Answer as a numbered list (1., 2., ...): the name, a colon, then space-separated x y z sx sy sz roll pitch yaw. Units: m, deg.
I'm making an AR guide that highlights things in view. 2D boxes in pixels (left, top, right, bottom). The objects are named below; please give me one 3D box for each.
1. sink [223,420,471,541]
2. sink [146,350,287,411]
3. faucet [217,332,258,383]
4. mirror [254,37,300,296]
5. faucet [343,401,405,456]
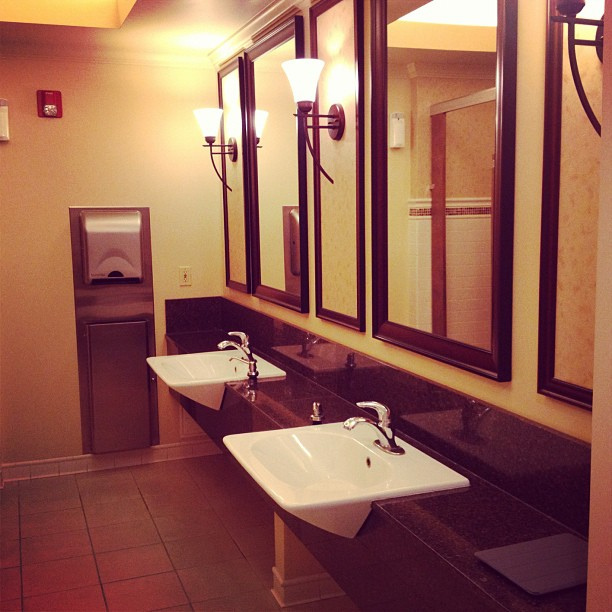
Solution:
1. sink: 0.081 0.492 1.675 0.546 0.201 0.624 -3 7 -24
2. sink: -0.508 0.381 2.976 0.492 0.192 0.816 -3 7 -24
3. faucet: -0.316 0.221 2.843 0.163 0.214 0.609 -1 6 -5
4. mirror: -0.150 -0.685 2.988 0.122 1.228 0.644 -2 6 -14
5. faucet: 0.207 0.366 1.720 0.191 0.153 0.095 -3 17 1
